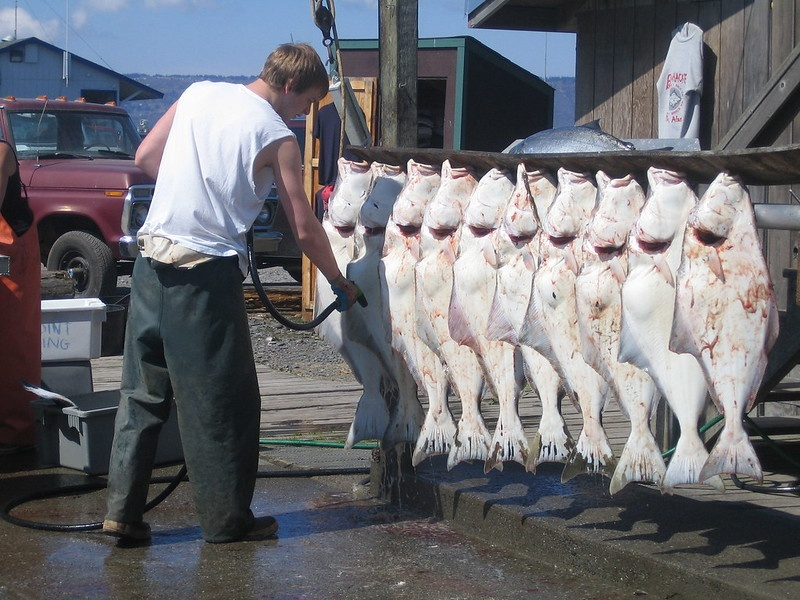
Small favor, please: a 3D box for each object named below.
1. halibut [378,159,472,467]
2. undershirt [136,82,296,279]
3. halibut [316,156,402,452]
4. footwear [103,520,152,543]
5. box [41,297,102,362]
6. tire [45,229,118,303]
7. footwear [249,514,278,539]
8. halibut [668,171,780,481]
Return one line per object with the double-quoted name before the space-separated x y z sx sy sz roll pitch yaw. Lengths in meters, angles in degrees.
"halibut" 0.223 0.016 6.500 0.331 1.618 0.606 -2 2 24
"undershirt" -0.881 -0.372 6.066 0.440 0.595 0.357 9 -13 39
"halibut" -0.188 0.029 6.738 0.498 1.468 0.542 -10 -6 43
"footwear" -1.316 1.123 6.197 0.100 0.119 0.244 4 5 7
"box" -2.161 0.191 8.130 0.544 0.367 0.435 -5 12 -30
"tire" -3.186 -0.300 12.677 0.731 0.784 0.249 -5 8 29
"footwear" -0.670 1.124 6.278 0.063 0.088 0.175 7 14 36
"halibut" 1.380 0.124 5.428 0.450 1.325 0.245 -1 9 16
